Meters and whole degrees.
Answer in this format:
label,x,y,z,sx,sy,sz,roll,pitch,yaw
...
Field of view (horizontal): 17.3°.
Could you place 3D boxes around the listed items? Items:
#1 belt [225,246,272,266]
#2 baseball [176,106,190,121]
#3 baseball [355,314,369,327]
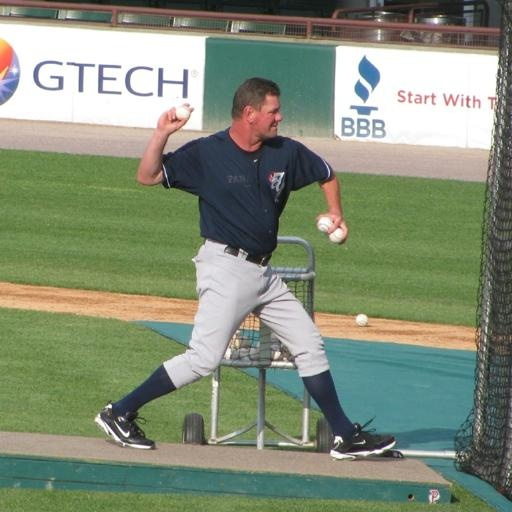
label,x,y,z,sx,sy,sz,roll,pitch,yaw
belt,-0.110,-0.001,19.309,0.547,0.227,0.074,0,8,-9
baseball,-0.860,-1.655,19.281,0.177,0.174,0.191,3,9,8
baseball,1.545,0.932,24.428,0.162,0.168,0.168,-6,4,0
